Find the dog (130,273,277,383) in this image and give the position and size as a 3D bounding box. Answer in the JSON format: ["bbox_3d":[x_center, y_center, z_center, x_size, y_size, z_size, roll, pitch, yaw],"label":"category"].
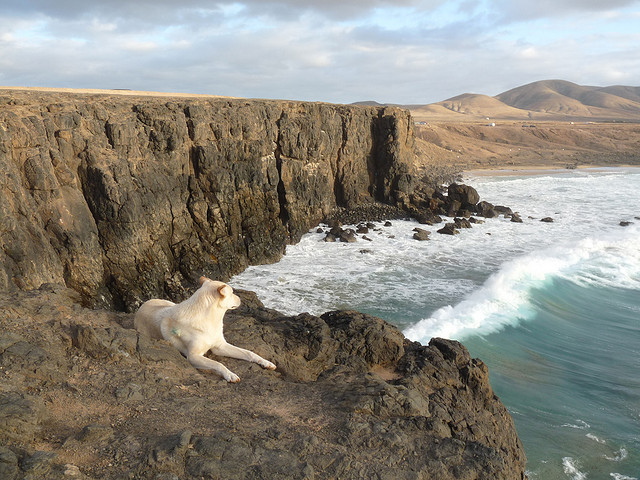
[{"bbox_3d":[-2.549,1.766,10.270,2.134,1.934,2.416,-12,21,-27],"label":"dog"}]
